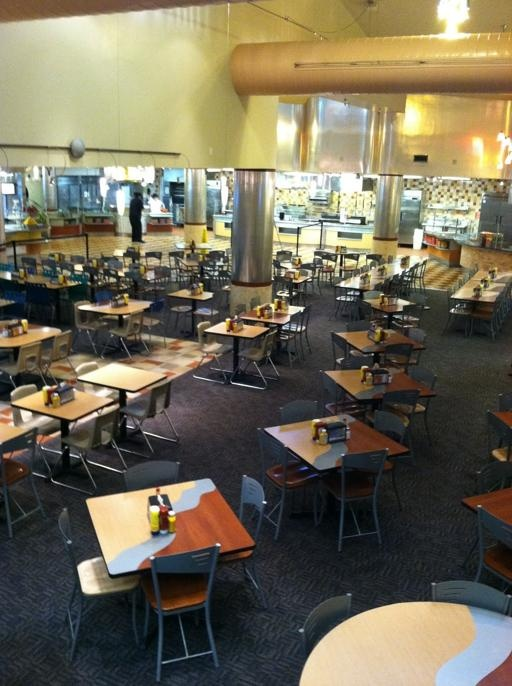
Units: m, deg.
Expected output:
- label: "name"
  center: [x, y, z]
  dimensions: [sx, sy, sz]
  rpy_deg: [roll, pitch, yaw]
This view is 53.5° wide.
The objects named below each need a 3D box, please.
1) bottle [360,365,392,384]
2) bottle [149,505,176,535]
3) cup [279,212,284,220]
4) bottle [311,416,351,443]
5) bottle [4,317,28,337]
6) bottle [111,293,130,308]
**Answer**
- label: "bottle"
  center: [1.315, 0.359, 5.619]
  dimensions: [0.227, 0.130, 0.220]
  rpy_deg: [0, 9, 0]
- label: "bottle"
  center: [-0.551, 1.051, 3.008]
  dimensions: [0.180, 0.158, 0.111]
  rpy_deg: [2, 10, 8]
- label: "cup"
  center: [1.075, -5.170, 20.793]
  dimensions: [0.217, 0.325, 0.452]
  rpy_deg: [3, 14, 6]
- label: "bottle"
  center: [0.640, 0.749, 4.358]
  dimensions: [0.333, 0.169, 0.223]
  rpy_deg: [2, -26, -12]
- label: "bottle"
  center: [-3.384, -0.232, 7.105]
  dimensions: [0.275, 0.122, 0.361]
  rpy_deg: [-7, 13, -35]
- label: "bottle"
  center: [-2.366, -0.730, 8.821]
  dimensions: [0.297, 0.196, 0.206]
  rpy_deg: [2, 12, 3]
